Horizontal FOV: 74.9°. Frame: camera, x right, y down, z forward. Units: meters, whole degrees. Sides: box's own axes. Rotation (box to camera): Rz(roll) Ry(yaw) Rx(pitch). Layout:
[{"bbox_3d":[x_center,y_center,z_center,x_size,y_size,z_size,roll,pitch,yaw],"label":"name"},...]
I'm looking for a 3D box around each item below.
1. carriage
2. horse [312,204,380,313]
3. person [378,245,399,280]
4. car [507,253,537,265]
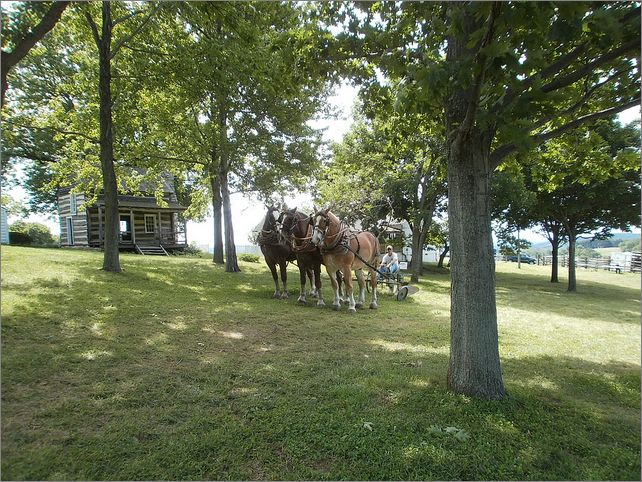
[{"bbox_3d":[0.595,0.470,13.669,5.042,3.208,1.353,2,-11,-9],"label":"carriage"},{"bbox_3d":[0.905,0.594,12.653,1.075,3.184,3.029,14,16,38],"label":"horse"},{"bbox_3d":[2.700,0.848,16.430,0.873,1.407,1.390,-4,-12,26],"label":"person"},{"bbox_3d":[25.944,2.423,54.126,3.192,1.069,1.545,0,0,23],"label":"car"}]
